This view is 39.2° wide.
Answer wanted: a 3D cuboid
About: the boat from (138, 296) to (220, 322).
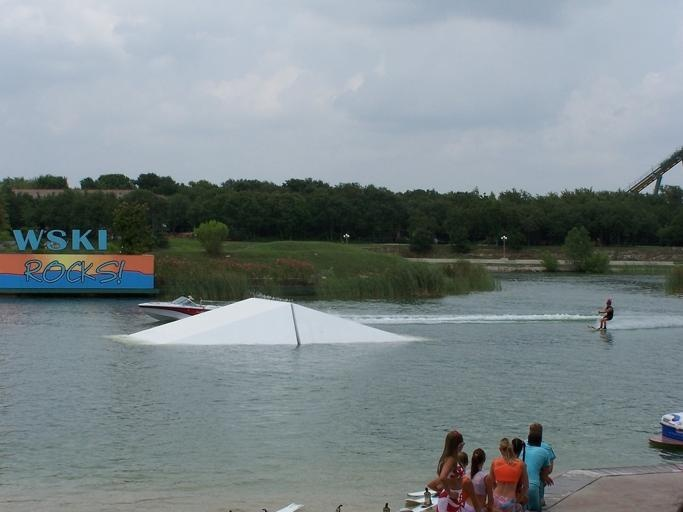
[{"bbox_3d":[-8.729,2.757,54.118,5.592,1.630,1.899,0,-3,-11],"label":"boat"}]
